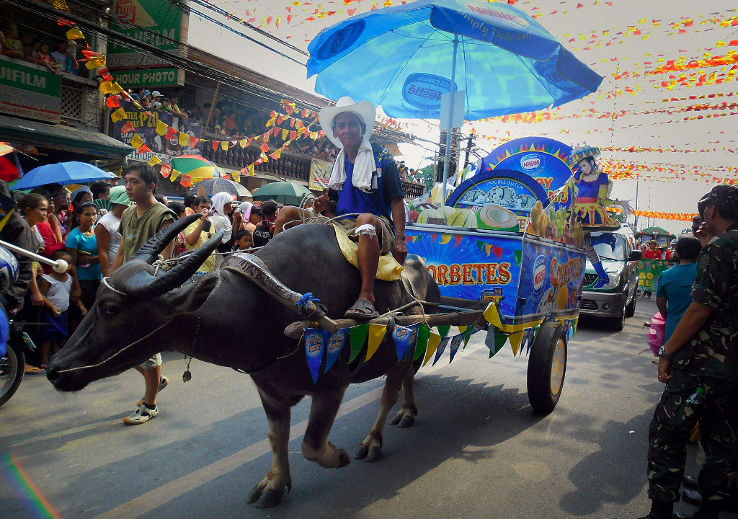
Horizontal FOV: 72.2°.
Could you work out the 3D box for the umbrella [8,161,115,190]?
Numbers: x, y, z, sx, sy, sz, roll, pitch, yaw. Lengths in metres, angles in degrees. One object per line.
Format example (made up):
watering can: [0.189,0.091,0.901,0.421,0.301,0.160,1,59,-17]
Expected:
umbrella: [-5.356,-1.507,8.982,1.336,0.582,1.706,7,9,24]

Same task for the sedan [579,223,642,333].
sedan: [5.892,0.425,12.864,1.706,1.758,3.392,-3,-5,31]

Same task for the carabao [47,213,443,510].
carabao: [-0.756,0.978,4.432,1.161,2.223,3.685,-14,-11,41]

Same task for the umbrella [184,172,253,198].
umbrella: [-3.226,-1.649,11.339,0.836,0.303,0.820,0,-1,-34]
